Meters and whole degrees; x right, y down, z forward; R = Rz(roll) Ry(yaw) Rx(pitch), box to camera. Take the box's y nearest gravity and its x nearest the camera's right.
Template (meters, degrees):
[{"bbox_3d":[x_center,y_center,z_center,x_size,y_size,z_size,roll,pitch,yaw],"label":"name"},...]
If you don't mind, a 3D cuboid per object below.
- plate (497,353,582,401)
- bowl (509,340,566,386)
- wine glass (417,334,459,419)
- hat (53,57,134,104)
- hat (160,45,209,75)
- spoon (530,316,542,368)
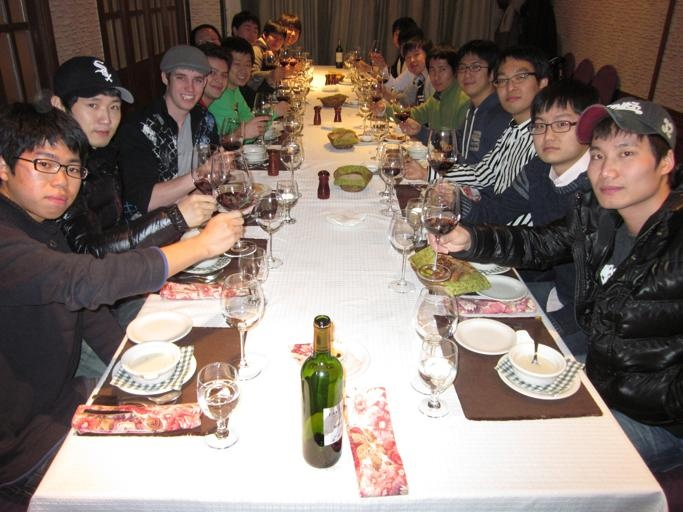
[{"bbox_3d":[0.536,0.341,1.330,0.132,0.033,0.143,24,36,33],"label":"plate"},{"bbox_3d":[0.546,0.300,1.365,0.113,0.048,0.116,1,38,-1],"label":"bowl"},{"bbox_3d":[0.252,0.324,1.268,0.108,0.174,0.104,-18,34,-29],"label":"wine glass"},{"bbox_3d":[-1.037,-0.723,2.043,0.246,0.137,0.183,5,22,2],"label":"hat"},{"bbox_3d":[-0.868,-1.092,2.736,0.288,0.098,0.318,1,44,-12],"label":"hat"},{"bbox_3d":[0.562,0.254,1.401,0.019,0.016,0.112,0,58,14],"label":"spoon"}]
